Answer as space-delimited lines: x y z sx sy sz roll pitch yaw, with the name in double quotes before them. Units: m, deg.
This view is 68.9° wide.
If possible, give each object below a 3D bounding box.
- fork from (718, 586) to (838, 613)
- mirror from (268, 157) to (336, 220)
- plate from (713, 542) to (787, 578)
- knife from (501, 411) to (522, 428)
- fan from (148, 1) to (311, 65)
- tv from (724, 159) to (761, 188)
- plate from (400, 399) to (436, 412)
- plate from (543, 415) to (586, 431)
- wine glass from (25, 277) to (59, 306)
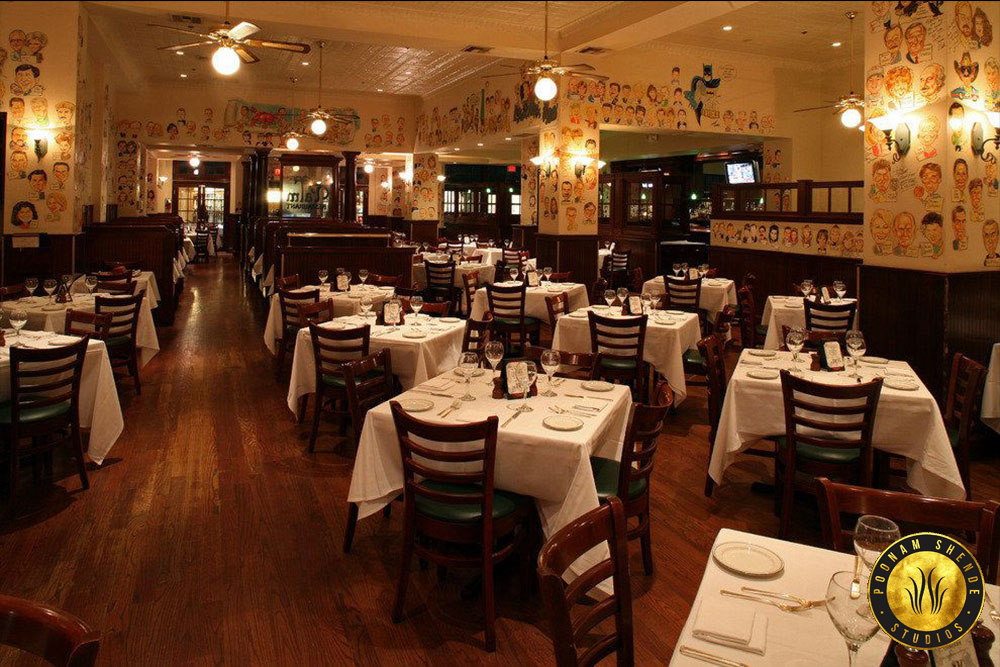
"fork" 1.148 1.115 3.072 0.420 0.047 0.092 3 9 14
"mirror" -4.182 -3.040 15.578 1.130 1.192 0.963 5 32 -5
"plate" 1.108 1.005 3.263 0.297 0.083 0.188 2 9 6
"knife" 0.067 0.505 4.476 0.039 0.053 0.388 4 9 15
"fan" -3.800 -4.193 10.190 1.724 0.820 1.701 11 27 17
"tv" 5.697 -3.724 17.006 0.507 0.507 0.760 0 9 -4
"plate" -0.526 0.458 4.635 0.205 0.037 0.185 -1 9 -8
"plate" 0.384 0.546 4.402 0.238 0.039 0.182 1 9 1
"wine glass" -4.857 -0.426 7.716 0.324 0.249 0.156 1 -3 -3
